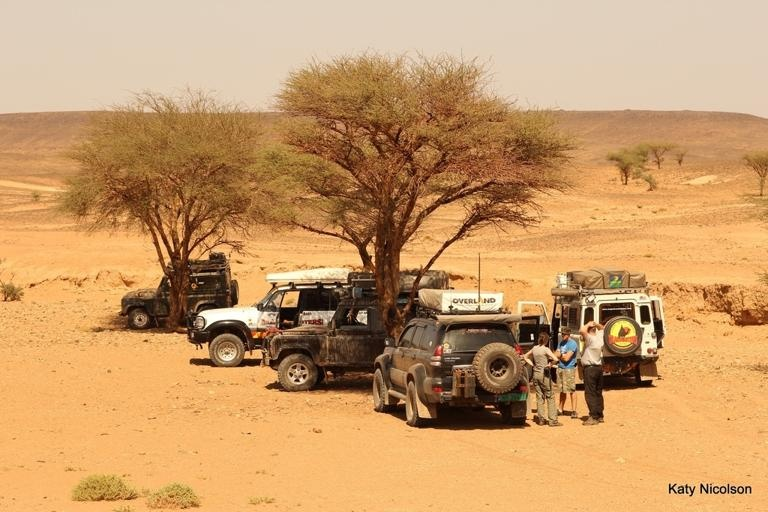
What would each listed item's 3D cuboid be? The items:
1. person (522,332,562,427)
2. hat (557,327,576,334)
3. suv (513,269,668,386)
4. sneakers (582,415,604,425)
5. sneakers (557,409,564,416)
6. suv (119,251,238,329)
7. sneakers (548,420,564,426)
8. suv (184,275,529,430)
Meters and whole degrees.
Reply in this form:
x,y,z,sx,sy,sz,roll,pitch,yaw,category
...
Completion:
x,y,z,sx,sy,sz,roll,pitch,yaw,category
4.348,3.350,23.940,0.979,2.520,0.690,1,8,10,person
5.010,2.076,24.059,0.448,0.175,0.563,-1,-1,12,hat
6.916,1.883,28.168,4.238,2.427,4.179,-1,6,-9,suv
5.708,4.505,23.933,0.645,0.248,0.222,3,3,-3,sneakers
5.059,4.479,24.905,0.118,0.110,0.298,-1,-2,4,sneakers
-8.765,1.663,37.553,5.394,2.891,2.908,0,1,0,suv
4.685,4.555,23.815,0.413,0.155,0.131,0,5,-9,sneakers
0.979,2.724,25.290,3.812,2.892,6.930,1,3,-34,suv
